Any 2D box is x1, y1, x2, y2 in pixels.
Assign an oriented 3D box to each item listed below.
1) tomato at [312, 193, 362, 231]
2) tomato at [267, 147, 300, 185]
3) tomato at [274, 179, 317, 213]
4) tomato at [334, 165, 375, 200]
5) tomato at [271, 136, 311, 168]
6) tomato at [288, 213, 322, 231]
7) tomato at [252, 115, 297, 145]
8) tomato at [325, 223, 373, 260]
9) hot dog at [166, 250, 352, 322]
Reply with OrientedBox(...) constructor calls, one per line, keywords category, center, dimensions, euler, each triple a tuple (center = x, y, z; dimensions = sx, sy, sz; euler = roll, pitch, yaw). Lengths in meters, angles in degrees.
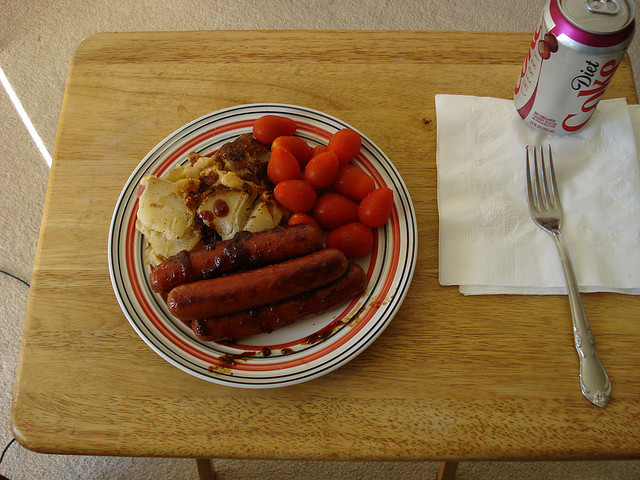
OrientedBox(category="tomato", center=(0.024, -0.081, 1.440), dimensions=(0.094, 0.134, 0.067), euler=(16, 105, 46))
OrientedBox(category="tomato", center=(-0.082, -0.181, 1.418), dimensions=(0.091, 0.078, 0.085), euler=(-6, 75, -2))
OrientedBox(category="tomato", center=(-0.046, -0.111, 1.427), dimensions=(0.111, 0.135, 0.061), euler=(-15, 100, -27))
OrientedBox(category="tomato", center=(0.089, -0.147, 1.428), dimensions=(0.117, 0.080, 0.065), euler=(17, 110, 26))
OrientedBox(category="tomato", center=(-0.082, -0.234, 1.471), dimensions=(0.096, 0.122, 0.073), euler=(9, 95, 33))
OrientedBox(category="tomato", center=(-0.041, -0.054, 1.389), dimensions=(0.067, 0.040, 0.031), euler=(5, 79, 2))
OrientedBox(category="tomato", center=(-0.116, -0.291, 1.489), dimensions=(0.114, 0.050, 0.060), euler=(-6, 75, -6))
OrientedBox(category="tomato", center=(0.084, 0.000, 1.423), dimensions=(0.139, 0.081, 0.068), euler=(0, 85, 3))
OrientedBox(category="hot dog", center=(-0.134, 0.109, 1.285), dimensions=(0.420, 0.055, 0.099), euler=(-14, 77, -2))
